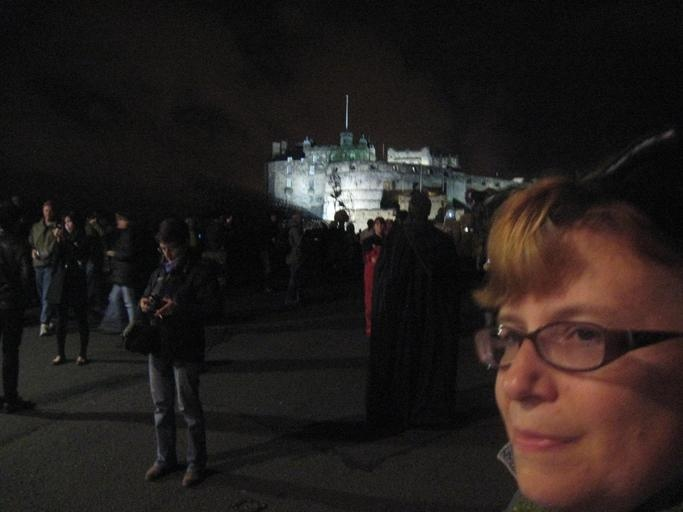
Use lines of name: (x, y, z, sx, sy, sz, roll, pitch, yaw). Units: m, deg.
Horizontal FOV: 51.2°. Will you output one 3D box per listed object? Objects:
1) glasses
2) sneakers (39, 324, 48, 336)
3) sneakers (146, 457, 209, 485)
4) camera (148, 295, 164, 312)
glasses: (0.595, 0.229, 1.750, 0.433, 0.139, 0.079, 1, 5, 27)
sneakers: (-3.366, 0.837, 8.051, 0.076, 0.097, 0.225, 1, -4, -14)
sneakers: (-0.938, 1.230, 4.118, 0.353, 0.096, 0.236, 0, 5, 16)
camera: (-1.096, 0.283, 4.223, 0.075, 0.092, 0.061, -3, 5, -15)
